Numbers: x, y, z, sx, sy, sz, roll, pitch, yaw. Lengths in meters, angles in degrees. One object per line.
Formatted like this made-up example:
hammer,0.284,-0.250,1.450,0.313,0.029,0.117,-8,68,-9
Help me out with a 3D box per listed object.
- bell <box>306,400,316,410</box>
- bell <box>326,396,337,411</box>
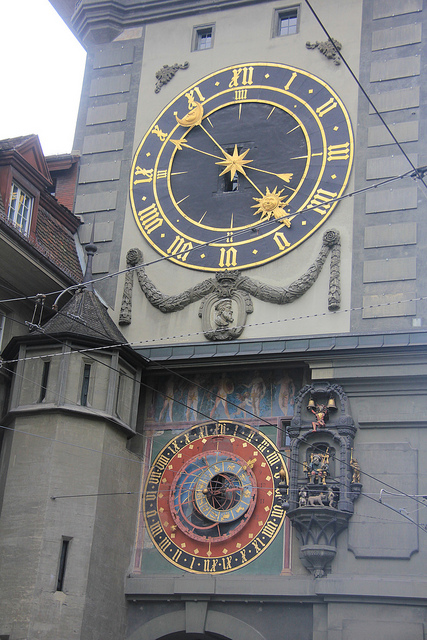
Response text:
bell,2.111,1.794,22.207,0.188,0.186,0.178,5,-30,-1
bell,2.533,1.752,22.050,0.238,0.237,0.226,3,-23,-2
